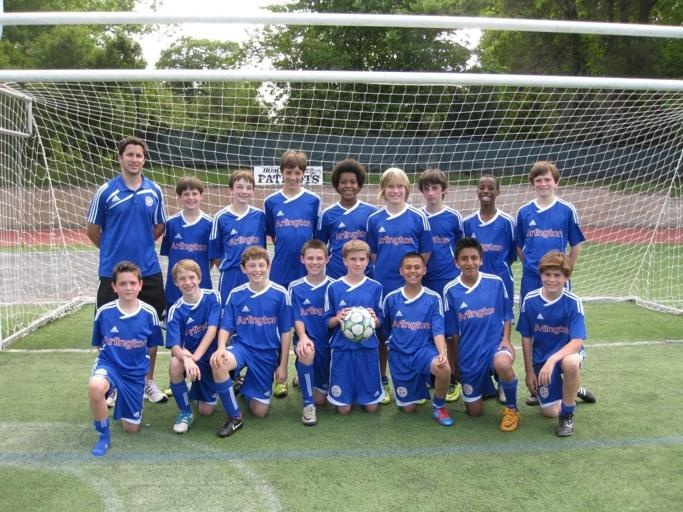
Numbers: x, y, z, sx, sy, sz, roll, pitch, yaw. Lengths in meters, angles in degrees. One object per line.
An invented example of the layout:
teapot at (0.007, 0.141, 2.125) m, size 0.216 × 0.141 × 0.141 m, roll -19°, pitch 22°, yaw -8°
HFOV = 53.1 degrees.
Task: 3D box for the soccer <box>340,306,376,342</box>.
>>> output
soccer at (0.154, 0.617, 6.186) m, size 0.293 × 0.289 × 0.297 m, roll 0°, pitch -17°, yaw -14°
